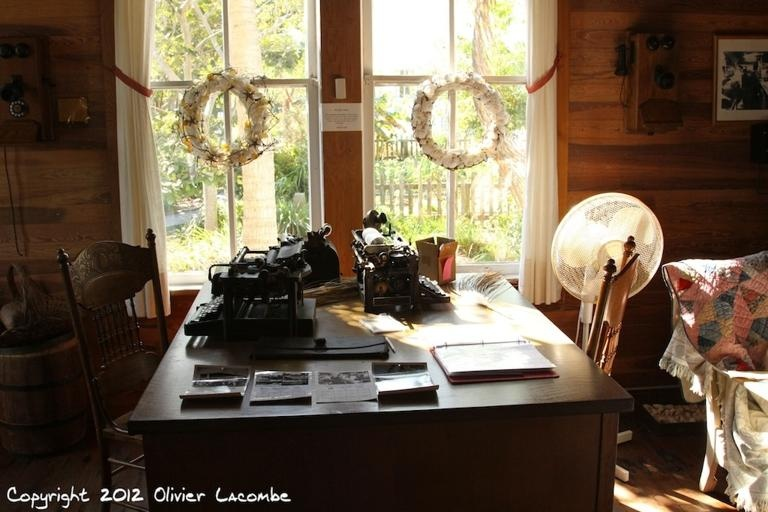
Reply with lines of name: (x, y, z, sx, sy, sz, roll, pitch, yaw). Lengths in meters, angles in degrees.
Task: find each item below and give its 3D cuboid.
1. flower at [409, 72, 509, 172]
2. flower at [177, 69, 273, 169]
flower: (0.516, -0.960, 4.256, 0.632, 0.688, 0.198, -12, 9, 5)
flower: (-1.173, -0.973, 4.157, 0.765, 0.221, 0.818, -16, -13, -11)
